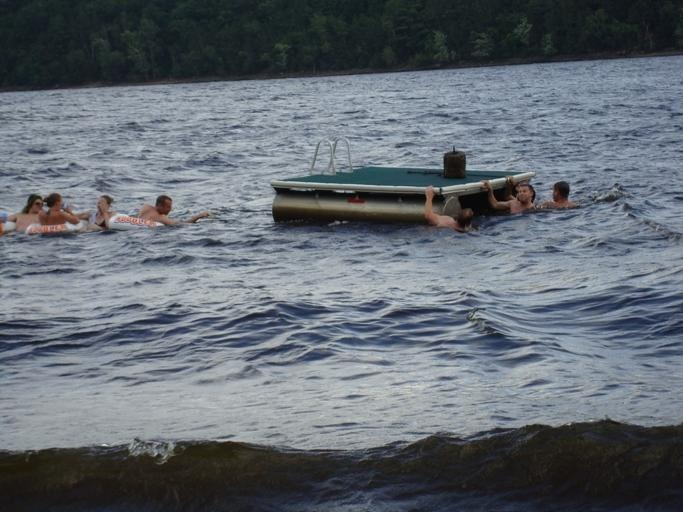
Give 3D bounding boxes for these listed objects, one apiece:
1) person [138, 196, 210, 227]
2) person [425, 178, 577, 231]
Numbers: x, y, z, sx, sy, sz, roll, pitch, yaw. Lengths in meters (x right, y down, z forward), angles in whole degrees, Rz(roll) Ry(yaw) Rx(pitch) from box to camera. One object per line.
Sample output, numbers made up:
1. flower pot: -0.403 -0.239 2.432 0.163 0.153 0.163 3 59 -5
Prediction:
1. person: -2.611 -0.681 17.512 0.874 0.299 0.559 -15 28 -41
2. person: 2.392 -0.725 16.984 1.859 0.393 1.018 -8 9 -40
